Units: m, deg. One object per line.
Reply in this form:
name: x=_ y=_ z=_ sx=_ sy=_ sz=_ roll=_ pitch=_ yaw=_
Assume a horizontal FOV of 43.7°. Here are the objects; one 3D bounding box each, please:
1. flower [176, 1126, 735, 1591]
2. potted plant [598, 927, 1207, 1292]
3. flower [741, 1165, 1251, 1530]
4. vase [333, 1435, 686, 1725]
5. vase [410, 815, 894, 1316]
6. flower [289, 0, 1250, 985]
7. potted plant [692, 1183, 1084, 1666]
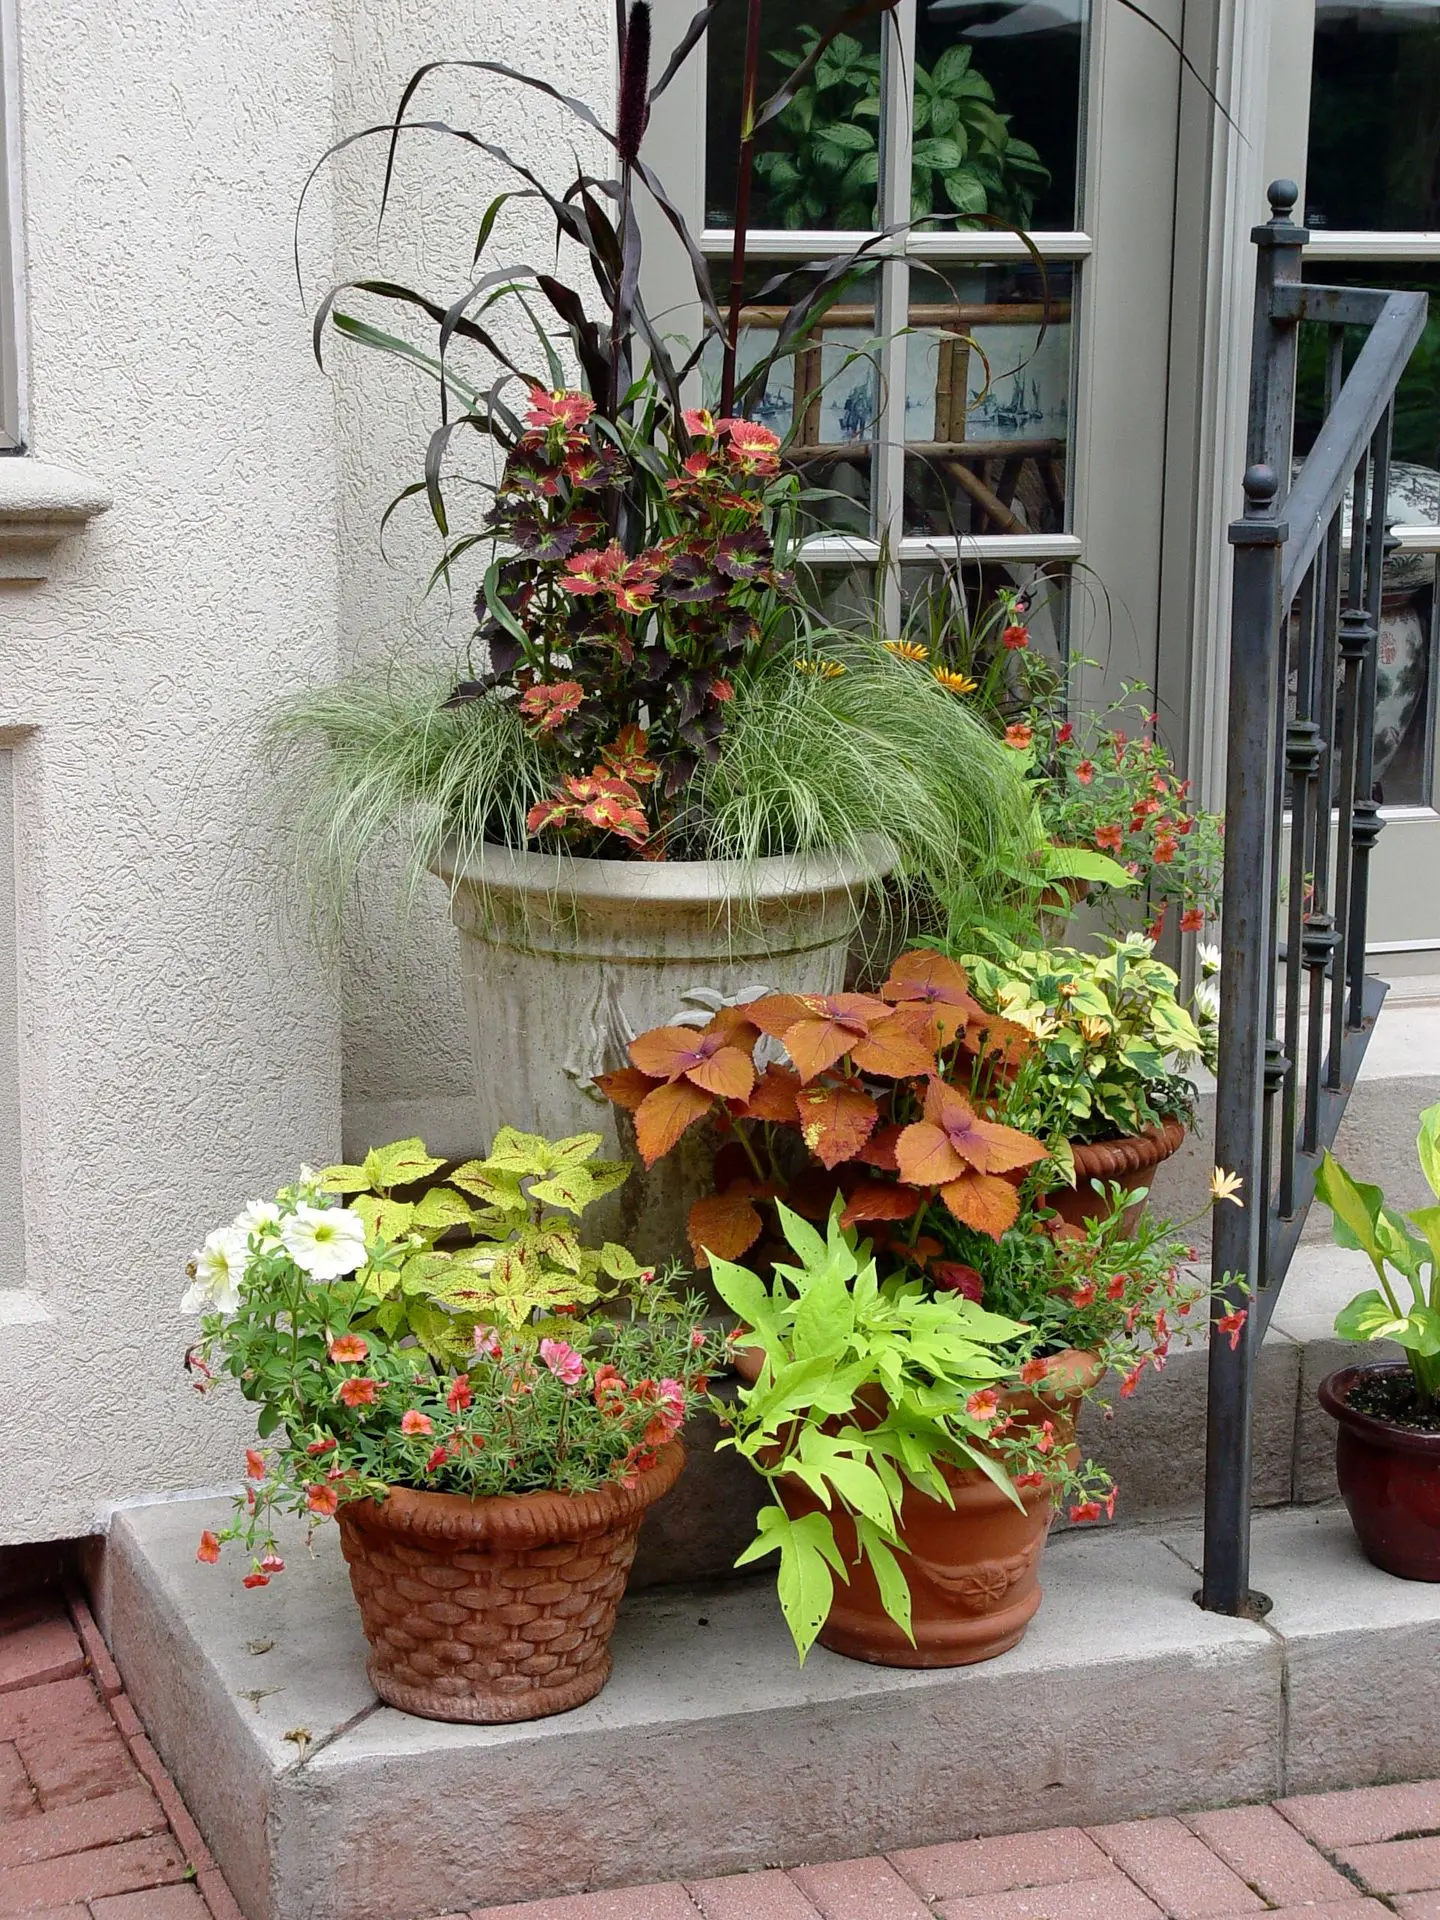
flower: x=-0.281 y=0.303 z=1.764 sx=0.538 sy=0.325 sz=0.509 roll=1 pitch=5 yaw=-18
potted plant: x=0.245 y=0.122 z=1.849 sx=0.476 sy=0.201 sz=0.466 roll=26 pitch=34 yaw=38
flower: x=0.289 y=0.332 z=1.854 sx=0.503 sy=0.320 sz=0.466 roll=0 pitch=2 yaw=-4
vase: x=-0.182 y=0.532 z=1.580 sx=0.293 sy=0.172 sz=0.278 roll=1 pitch=-4 yaw=-20
vase: x=-0.066 y=0.086 z=1.835 sx=0.508 sy=0.341 sz=0.474 roll=0 pitch=3 yaw=-6
flower: x=-0.051 y=-0.363 z=2.353 sx=1.283 sy=1.111 sz=1.200 roll=4 pitch=9 yaw=-13
potted plant: x=0.153 y=0.438 z=1.762 sx=0.427 sy=0.392 sz=0.450 roll=0 pitch=-1 yaw=-18
